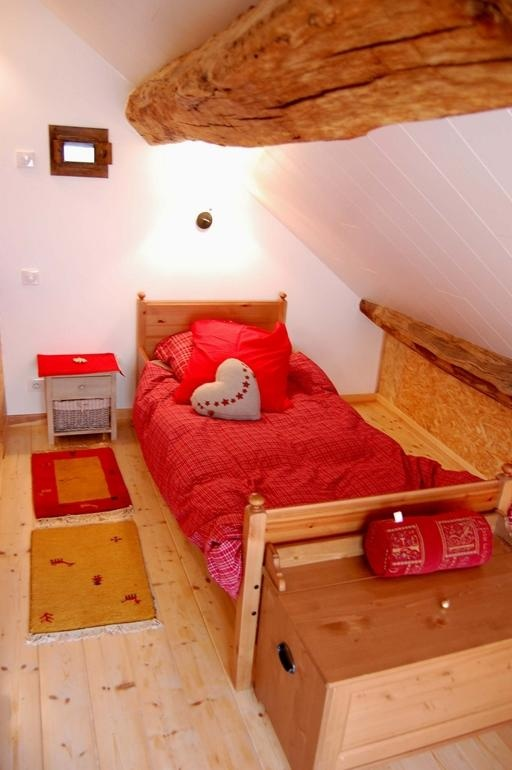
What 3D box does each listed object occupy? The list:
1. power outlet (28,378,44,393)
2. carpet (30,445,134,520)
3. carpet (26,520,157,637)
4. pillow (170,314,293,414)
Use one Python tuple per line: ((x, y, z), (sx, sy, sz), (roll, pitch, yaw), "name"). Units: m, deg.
((-1.350, -0.003, 3.325), (0.083, 0.079, 0.082), (-17, 29, -36), "power outlet")
((-0.945, 0.510, 2.880), (0.460, 0.054, 0.656), (-7, 24, -23), "carpet")
((-0.694, 0.765, 2.204), (0.478, 0.038, 0.610), (-2, 25, -23), "carpet")
((-0.103, -0.113, 3.104), (0.565, 0.198, 0.548), (5, 48, -1), "pillow")
